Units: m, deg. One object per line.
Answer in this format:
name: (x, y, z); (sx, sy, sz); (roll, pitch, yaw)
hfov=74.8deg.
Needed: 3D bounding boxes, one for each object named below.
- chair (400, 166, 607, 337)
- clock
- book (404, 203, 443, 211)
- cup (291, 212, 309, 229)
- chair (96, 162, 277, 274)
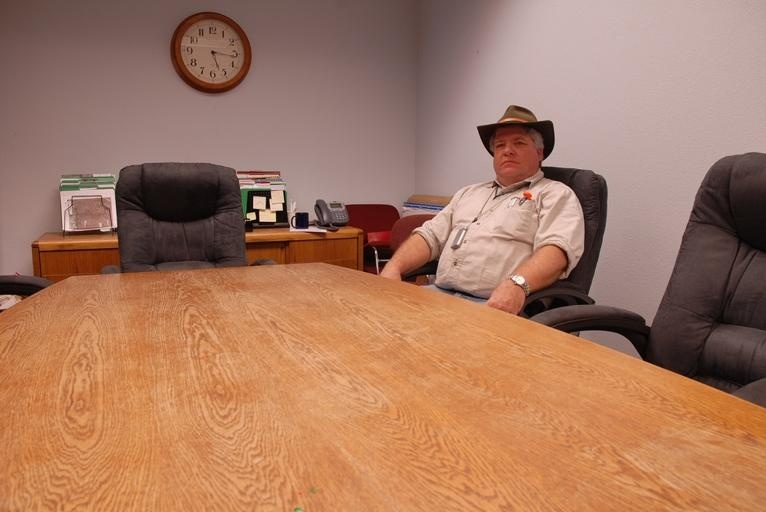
chair: (0.733, 0.012, 2.665); (0.860, 1.091, 0.828); (8, -6, -41)
clock: (-1.291, -1.558, 3.800); (0.556, 0.602, 0.078); (-7, 47, -24)
book: (0.329, -0.386, 3.908); (0.045, 0.064, 0.352); (-31, 17, -30)
cup: (-0.554, -0.253, 3.425); (0.127, 0.116, 0.083); (-1, -2, 1)
chair: (-1.120, -0.211, 2.867); (0.664, 0.822, 0.668); (-3, 1, -22)
